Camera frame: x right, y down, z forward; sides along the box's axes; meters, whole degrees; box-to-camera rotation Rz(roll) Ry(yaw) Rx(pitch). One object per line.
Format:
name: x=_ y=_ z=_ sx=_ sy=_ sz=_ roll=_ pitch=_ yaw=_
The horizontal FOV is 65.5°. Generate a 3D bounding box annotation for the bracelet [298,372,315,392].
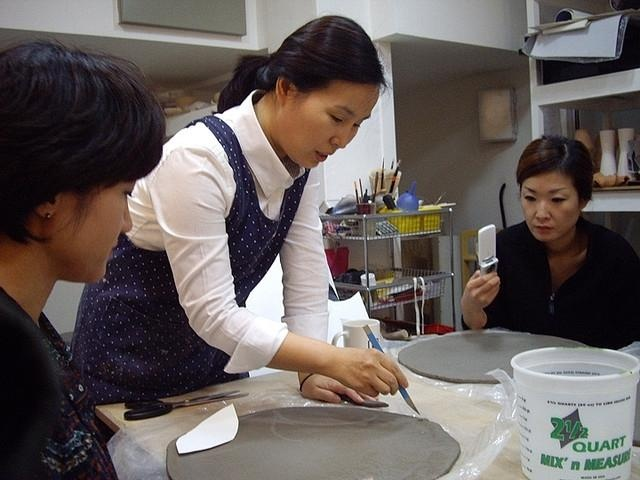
bracelet: x=-0.033 y=0.355 z=1.243 sx=0.010 sy=0.040 sz=0.038 roll=29 pitch=35 yaw=-14

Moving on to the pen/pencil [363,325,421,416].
pen/pencil: x=0.175 y=0.322 z=1.217 sx=0.027 sy=0.235 sz=0.012 roll=-39 pitch=-32 yaw=-2
